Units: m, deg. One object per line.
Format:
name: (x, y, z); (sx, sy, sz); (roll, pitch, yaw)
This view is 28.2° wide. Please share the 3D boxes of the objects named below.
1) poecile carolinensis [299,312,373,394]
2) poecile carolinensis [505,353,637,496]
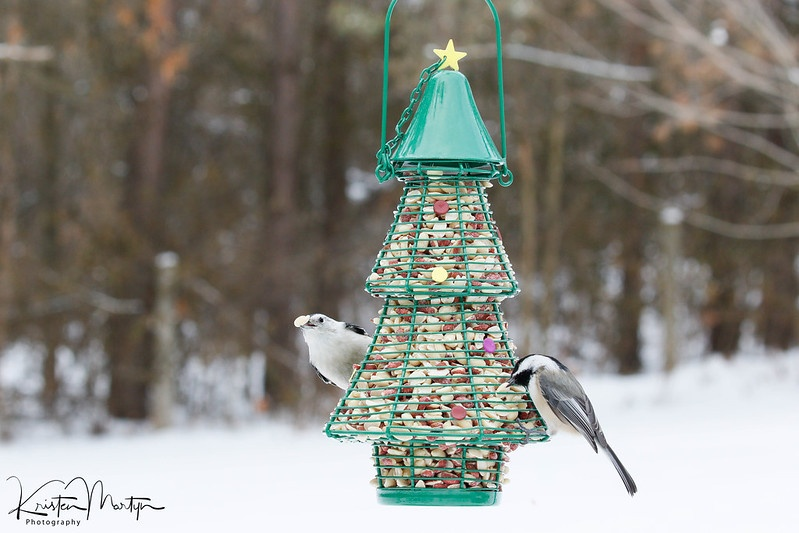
poecile carolinensis: (-0.628, 0.730, 15.060); (0.882, 0.561, 0.468); (40, -93, -33)
poecile carolinensis: (1.638, 1.360, 14.674); (1.591, 0.683, 0.534); (28, -4, 22)
